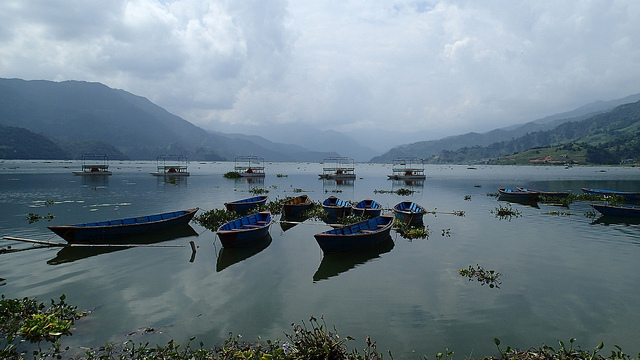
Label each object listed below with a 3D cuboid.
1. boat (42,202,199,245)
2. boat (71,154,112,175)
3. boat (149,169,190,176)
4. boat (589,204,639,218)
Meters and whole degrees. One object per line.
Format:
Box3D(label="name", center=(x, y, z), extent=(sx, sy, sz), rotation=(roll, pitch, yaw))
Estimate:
Box3D(label="boat", center=(-21.677, 5.342, 43.821), extent=(14.160, 3.791, 4.229), rotation=(-1, 0, -24))
Box3D(label="boat", center=(-70.690, -4.329, 117.777), extent=(4.009, 5.831, 13.124), rotation=(4, 4, 36))
Box3D(label="boat", center=(-46.858, -2.180, 118.596), extent=(9.427, 1.743, 8.913), rotation=(-1, 0, -38))
Box3D(label="boat", center=(40.022, 4.152, 49.824), extent=(8.138, 1.260, 1.926), rotation=(2, -4, 16))
